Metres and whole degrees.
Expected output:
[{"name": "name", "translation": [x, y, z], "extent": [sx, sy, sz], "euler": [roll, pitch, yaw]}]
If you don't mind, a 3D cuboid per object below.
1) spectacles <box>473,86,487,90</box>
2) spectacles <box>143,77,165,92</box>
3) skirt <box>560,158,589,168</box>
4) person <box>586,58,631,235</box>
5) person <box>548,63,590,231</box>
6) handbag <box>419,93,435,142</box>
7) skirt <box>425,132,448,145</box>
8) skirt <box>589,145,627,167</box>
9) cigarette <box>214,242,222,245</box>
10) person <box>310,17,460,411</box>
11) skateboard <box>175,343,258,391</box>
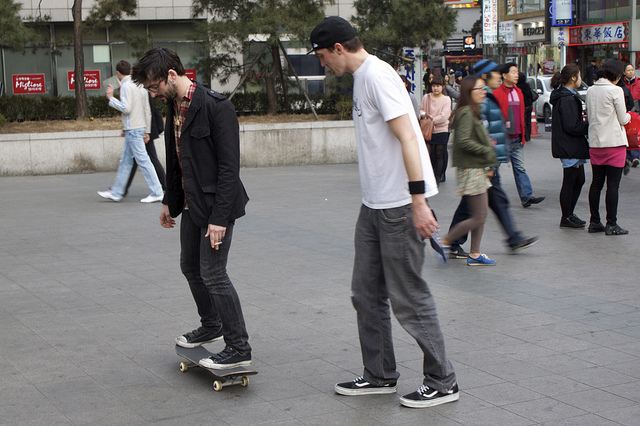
[{"name": "spectacles", "translation": [1.918, -1.490, 7.374], "extent": [0.065, 0.037, 0.247], "euler": [9, 16, 36]}, {"name": "spectacles", "translation": [-1.287, -0.980, 4.755], "extent": [0.092, 0.027, 0.095], "euler": [3, 53, 49]}, {"name": "skirt", "translation": [3.885, -0.794, 9.501], "extent": [0.256, 0.188, 0.190], "euler": [-10, 13, -14]}, {"name": "person", "translation": [4.256, -0.970, 9.038], "extent": [0.605, 2.494, 0.666], "euler": [1, 13, 7]}, {"name": "person", "translation": [3.847, -1.013, 9.442], "extent": [0.551, 2.423, 0.689], "euler": [1, 13, 7]}, {"name": "handbag", "translation": [2.177, -1.899, 12.558], "extent": [0.253, 0.920, 0.669], "euler": [3, 13, 17]}, {"name": "skirt", "translation": [2.518, -1.556, 12.995], "extent": [0.475, 0.330, 0.261], "euler": [1, 7, 5]}, {"name": "skirt", "translation": [4.286, -0.825, 9.158], "extent": [0.503, 0.381, 0.310], "euler": [0, -1, 24]}, {"name": "cigarette", "translation": [-0.789, 0.234, 4.781], "extent": [0.056, 0.012, 0.015], "euler": [-14, -9, -10]}, {"name": "person", "translation": [0.561, -0.026, 4.715], "extent": [1.014, 2.909, 1.088], "euler": [-1, 0, -33]}, {"name": "skateboard", "translation": [-0.831, 1.219, 4.886], "extent": [0.262, 0.165, 0.897], "euler": [-1, 5, -34]}]
